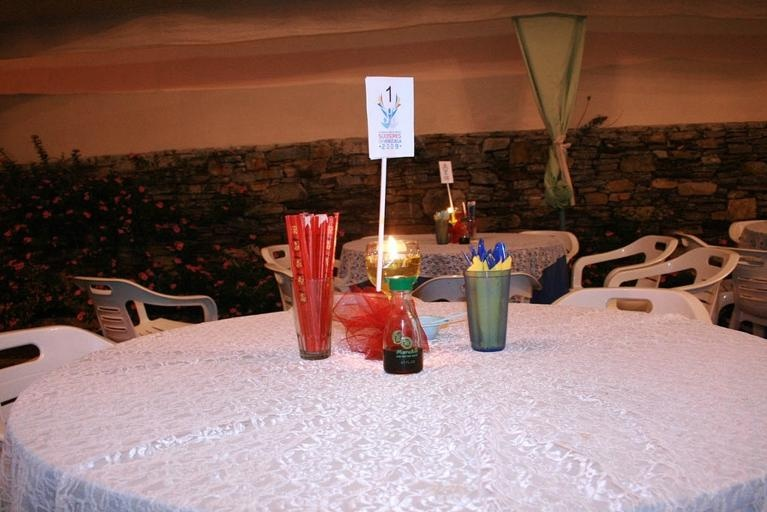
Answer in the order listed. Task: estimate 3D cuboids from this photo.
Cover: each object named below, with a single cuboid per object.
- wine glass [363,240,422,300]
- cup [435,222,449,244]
[{"bbox_3d":[0.027,0.022,1.127,0.152,0.125,0.134,0,2,-1],"label":"wine glass"},{"bbox_3d":[0.392,-0.154,3.256,0.096,0.149,0.078,-7,14,-12],"label":"cup"}]
